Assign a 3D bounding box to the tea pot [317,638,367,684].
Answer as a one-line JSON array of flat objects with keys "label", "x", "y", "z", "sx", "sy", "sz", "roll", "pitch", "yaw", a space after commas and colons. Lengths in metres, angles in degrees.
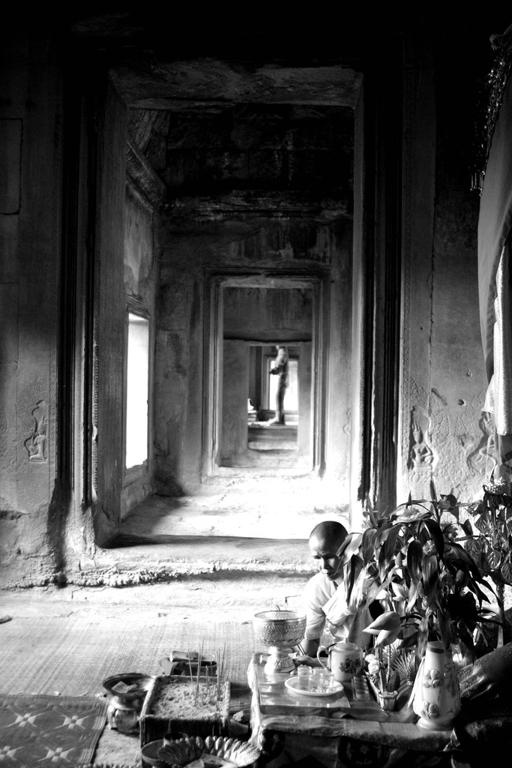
[{"label": "tea pot", "x": 0.266, "y": 0.840, "z": 2.232, "sx": 0.094, "sy": 0.138, "sz": 0.081, "roll": -2, "pitch": 4, "yaw": 11}]
